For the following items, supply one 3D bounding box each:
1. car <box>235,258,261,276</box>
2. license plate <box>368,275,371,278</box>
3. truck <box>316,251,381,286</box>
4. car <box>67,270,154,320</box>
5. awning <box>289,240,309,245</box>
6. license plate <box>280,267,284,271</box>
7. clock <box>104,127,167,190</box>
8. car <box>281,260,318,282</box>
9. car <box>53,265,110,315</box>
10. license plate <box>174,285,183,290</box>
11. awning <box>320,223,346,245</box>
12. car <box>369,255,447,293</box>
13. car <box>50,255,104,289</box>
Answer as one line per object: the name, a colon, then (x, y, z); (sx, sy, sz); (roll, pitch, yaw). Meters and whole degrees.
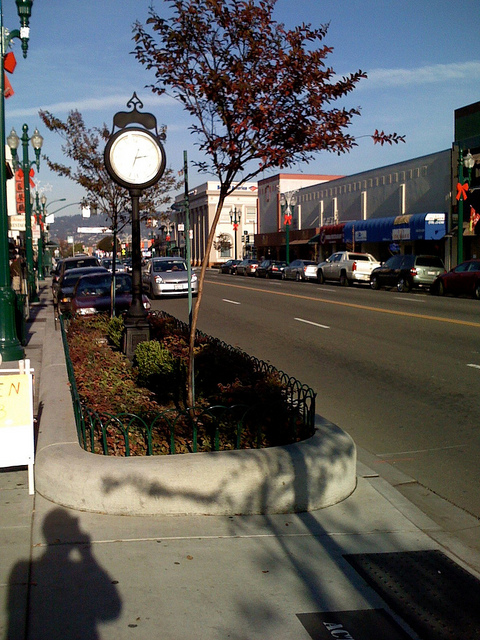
car: (0.654, -4.678, 52.433); (1.114, 0.978, 2.797); (-2, 8, -15)
license plate: (7.353, -2.446, 33.041); (0.117, 0.124, 0.224); (-4, -15, 20)
truck: (6.530, -3.046, 35.527); (2.255, 2.095, 6.584); (3, 5, -14)
car: (-3.493, -0.624, 14.903); (1.316, 1.091, 2.521); (-5, -3, -18)
awning: (6.297, -8.367, 62.799); (0.410, 0.473, 4.604); (3, 6, -15)
license plate: (3.310, -3.977, 45.841); (0.171, 0.067, 0.270); (26, -12, -17)
clock: (-1.629, -2.498, 9.046); (0.916, 0.930, 0.330); (3, 5, -14)
car: (4.777, -3.446, 41.420); (1.554, 1.509, 7.013); (3, 6, -14)
car: (-5.167, -1.034, 18.090); (1.201, 0.990, 2.780); (-2, 1, -17)
license plate: (-2.696, -1.438, 25.586); (0.260, 0.196, 0.058); (0, 4, -11)
awning: (8.576, -7.859, 52.788); (1.216, 1.748, 2.297); (16, -4, -38)
car: (8.378, -2.371, 29.646); (1.680, 1.551, 3.661); (-1, 8, -18)
car: (-7.284, -2.414, 25.824); (1.688, 1.397, 2.923); (-2, -2, -21)
